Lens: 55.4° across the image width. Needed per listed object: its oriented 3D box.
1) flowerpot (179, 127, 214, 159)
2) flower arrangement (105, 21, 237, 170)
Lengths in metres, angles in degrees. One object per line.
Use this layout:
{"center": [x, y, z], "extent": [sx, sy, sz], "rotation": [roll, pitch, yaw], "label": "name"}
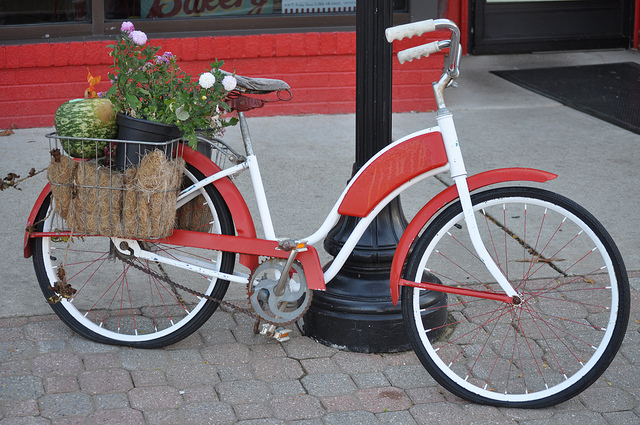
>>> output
{"center": [-0.835, -0.432, 3.828], "extent": [0.190, 0.159, 0.286], "rotation": [-4, -3, 1], "label": "flowerpot"}
{"center": [-0.980, -0.648, 3.689], "extent": [0.782, 0.811, 0.494], "rotation": [14, 6, -23], "label": "flower arrangement"}
